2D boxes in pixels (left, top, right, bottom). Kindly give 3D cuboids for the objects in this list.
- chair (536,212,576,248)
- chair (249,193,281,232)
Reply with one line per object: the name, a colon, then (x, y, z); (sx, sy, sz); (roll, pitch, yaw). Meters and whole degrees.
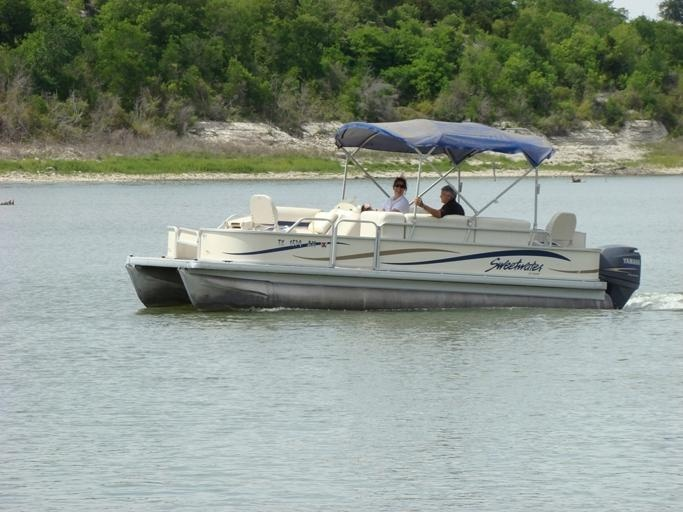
chair: (4.697, -0.550, 28.506); (0.869, 0.813, 0.876); (-1, 15, -18)
chair: (-1.557, -0.965, 28.175); (0.758, 0.766, 0.813); (7, 17, 21)
